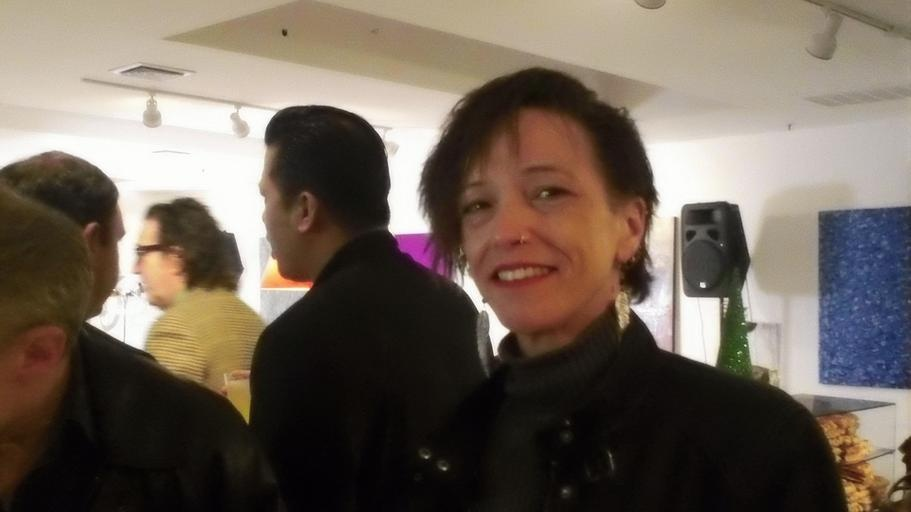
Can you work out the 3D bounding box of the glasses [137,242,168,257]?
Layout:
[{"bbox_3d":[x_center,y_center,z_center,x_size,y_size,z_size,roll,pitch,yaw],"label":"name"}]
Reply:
[{"bbox_3d":[-0.517,-0.013,1.132,0.055,0.019,0.012,1,0,13],"label":"glasses"}]
